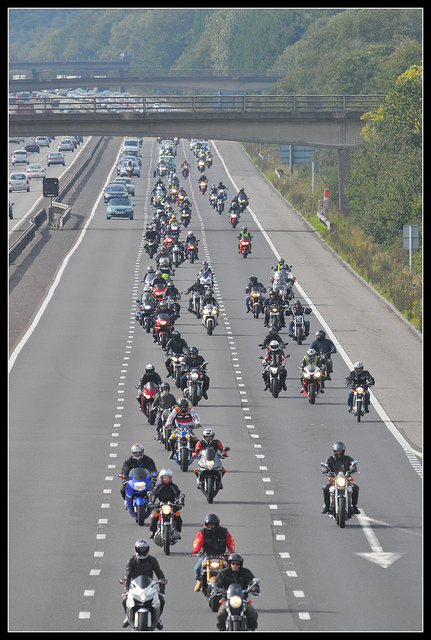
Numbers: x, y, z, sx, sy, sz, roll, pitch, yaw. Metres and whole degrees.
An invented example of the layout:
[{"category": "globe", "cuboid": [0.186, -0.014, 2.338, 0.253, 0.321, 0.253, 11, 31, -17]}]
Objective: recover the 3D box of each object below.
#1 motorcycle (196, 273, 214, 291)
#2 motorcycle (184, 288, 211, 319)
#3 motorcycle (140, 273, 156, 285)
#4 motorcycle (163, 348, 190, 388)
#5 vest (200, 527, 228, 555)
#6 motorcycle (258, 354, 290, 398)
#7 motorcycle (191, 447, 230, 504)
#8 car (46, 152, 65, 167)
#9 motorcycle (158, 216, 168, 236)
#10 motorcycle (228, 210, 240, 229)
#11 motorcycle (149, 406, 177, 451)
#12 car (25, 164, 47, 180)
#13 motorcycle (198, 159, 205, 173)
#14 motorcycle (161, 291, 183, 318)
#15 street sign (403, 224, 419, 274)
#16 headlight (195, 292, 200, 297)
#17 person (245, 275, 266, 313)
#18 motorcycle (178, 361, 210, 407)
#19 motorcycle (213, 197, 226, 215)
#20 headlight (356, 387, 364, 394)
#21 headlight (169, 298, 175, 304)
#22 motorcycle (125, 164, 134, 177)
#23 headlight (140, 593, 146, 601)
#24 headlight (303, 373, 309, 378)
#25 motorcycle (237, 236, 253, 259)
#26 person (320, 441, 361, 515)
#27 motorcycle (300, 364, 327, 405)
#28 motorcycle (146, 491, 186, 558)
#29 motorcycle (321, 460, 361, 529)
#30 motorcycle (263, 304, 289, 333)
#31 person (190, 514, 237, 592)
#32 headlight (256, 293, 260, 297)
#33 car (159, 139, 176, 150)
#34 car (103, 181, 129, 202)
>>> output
[{"category": "motorcycle", "cuboid": [-0.374, -1.211, 42.403, 0.368, 0.678, 0.995, -2, 5, -3]}, {"category": "motorcycle", "cuboid": [-0.590, -0.482, 42.188, 0.630, 1.149, 1.549, 2, 2, -3]}, {"category": "motorcycle", "cuboid": [-2.146, -1.319, 42.306, 0.370, 0.324, 0.627, 0, 8, -6]}, {"category": "motorcycle", "cuboid": [-0.957, 1.162, 31.676, 0.365, 0.705, 0.937, 0, 4, -4]}, {"category": "vest", "cuboid": [-0.022, 2.935, 17.055, 0.331, 0.552, 0.254, 0, -1, -2]}, {"category": "motorcycle", "cuboid": [1.412, 1.409, 31.536, 0.515, 1.042, 0.812, 1, 6, 0]}, {"category": "motorcycle", "cuboid": [-0.107, 2.587, 22.217, 0.444, 0.990, 1.424, 0, 4, 0]}, {"category": "car", "cuboid": [-14.679, -14.592, 118.857, 1.513, 1.272, 2.215, -1, 8, -12]}, {"category": "motorcycle", "cuboid": [-2.573, -4.572, 62.482, 0.358, 1.065, 0.523, -2, -9, -1]}, {"category": "motorcycle", "cuboid": [1.022, -5.620, 73.288, 0.606, 1.141, 1.674, 0, 11, 0]}, {"category": "motorcycle", "cuboid": [-1.097, 1.941, 26.077, 0.390, 0.707, 1.045, 0, 24, -14]}, {"category": "car", "cuboid": [-14.985, -12.264, 108.528, 1.657, 1.186, 2.497, 0, 8, -9]}, {"category": "motorcycle", "cuboid": [-1.245, -12.827, 108.808, 0.474, 1.079, 1.489, 0, 7, -2]}, {"category": "motorcycle", "cuboid": [-1.393, -0.443, 40.208, 0.539, 0.853, 1.071, -1, 3, -1]}, {"category": "street sign", "cuboid": [7.440, -2.612, 49.534, 0.506, 2.407, 0.398, -3, -32, 13]}, {"category": "headlight", "cuboid": [-0.606, -0.787, 41.876, 0.173, 0.149, 0.038, -4, 7, -32]}, {"category": "person", "cuboid": [1.309, -0.996, 42.728, 0.523, 0.891, 1.242, -3, 10, -2]}, {"category": "motorcycle", "cuboid": [-0.532, 1.405, 30.007, 0.515, 1.009, 1.503, 1, 13, -3]}, {"category": "motorcycle", "cuboid": [0.239, -7.013, 80.448, 0.492, 1.082, 1.133, 0, 7, -8]}, {"category": "headlight", "cuboid": [3.125, 1.566, 28.264, 0.136, 0.183, 0.151, 2, 6, 9]}, {"category": "headlight", "cuboid": [-1.366, -0.550, 40.112, 0.119, 0.174, 0.349, 3, 8, 23]}, {"category": "motorcycle", "cuboid": [-7.076, -12.209, 106.671, 0.402, 0.998, 0.493, 1, -4, 3]}, {"category": "headlight", "cuboid": [-0.846, 3.213, 15.021, 0.066, 0.063, 0.051, -3, 7, -27]}, {"category": "headlight", "cuboid": [2.091, 1.307, 30.243, 0.037, 0.114, 0.176, -2, 8, -26]}, {"category": "motorcycle", "cuboid": [1.341, -3.327, 60.646, 0.662, 1.274, 1.873, -1, 6, 0]}, {"category": "person", "cuboid": [2.013, 2.440, 21.226, 0.420, 0.784, 1.166, -2, 2, 1]}, {"category": "motorcycle", "cuboid": [2.252, 1.522, 30.503, 0.477, 1.024, 0.859, 1, 6, 0]}, {"category": "motorcycle", "cuboid": [-0.743, 3.043, 19.580, 0.423, 0.858, 1.188, 0, -3, -1]}, {"category": "motorcycle", "cuboid": [1.989, 2.760, 20.988, 0.400, 1.067, 1.408, -2, 5, 4]}, {"category": "motorcycle", "cuboid": [1.841, -0.016, 40.138, 0.516, 0.848, 1.228, -2, 4, 1]}, {"category": "person", "cuboid": [-0.059, 3.271, 17.205, 0.430, 0.799, 1.046, 5, 1, -4]}, {"category": "headlight", "cuboid": [1.385, -0.792, 42.866, 0.102, 0.153, 0.240, 2, 7, 11]}, {"category": "car", "cuboid": [-5.110, -18.321, 134.991, 1.415, 1.380, 2.489, 0, 0, 4]}, {"category": "car", "cuboid": [-6.433, -8.287, 83.041, 0.983, 1.339, 2.656, -1, 6, -5]}]
